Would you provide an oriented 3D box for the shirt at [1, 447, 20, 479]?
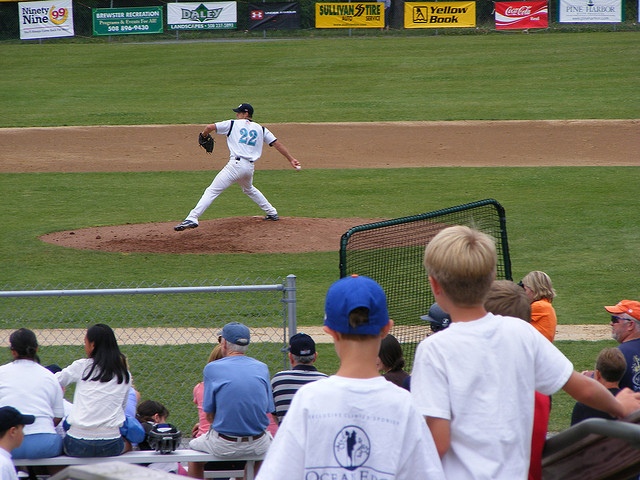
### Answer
[{"bbox_3d":[-9.304,6.676,54.315,0.476,0.912,0.387,-2,7,-8],"label":"shirt"}]

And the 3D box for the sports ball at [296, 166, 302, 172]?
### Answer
[{"bbox_3d":[-0.833,-2.411,63.519,0.097,0.186,0.182,3,13,44],"label":"sports ball"}]

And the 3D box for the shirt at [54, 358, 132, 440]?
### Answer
[{"bbox_3d":[-6.827,4.836,55.265,2.015,2.430,0.577,-2,7,-6],"label":"shirt"}]

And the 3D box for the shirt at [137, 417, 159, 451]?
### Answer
[{"bbox_3d":[-5.291,5.943,55.540,0.582,0.899,0.734,-1,6,2],"label":"shirt"}]
